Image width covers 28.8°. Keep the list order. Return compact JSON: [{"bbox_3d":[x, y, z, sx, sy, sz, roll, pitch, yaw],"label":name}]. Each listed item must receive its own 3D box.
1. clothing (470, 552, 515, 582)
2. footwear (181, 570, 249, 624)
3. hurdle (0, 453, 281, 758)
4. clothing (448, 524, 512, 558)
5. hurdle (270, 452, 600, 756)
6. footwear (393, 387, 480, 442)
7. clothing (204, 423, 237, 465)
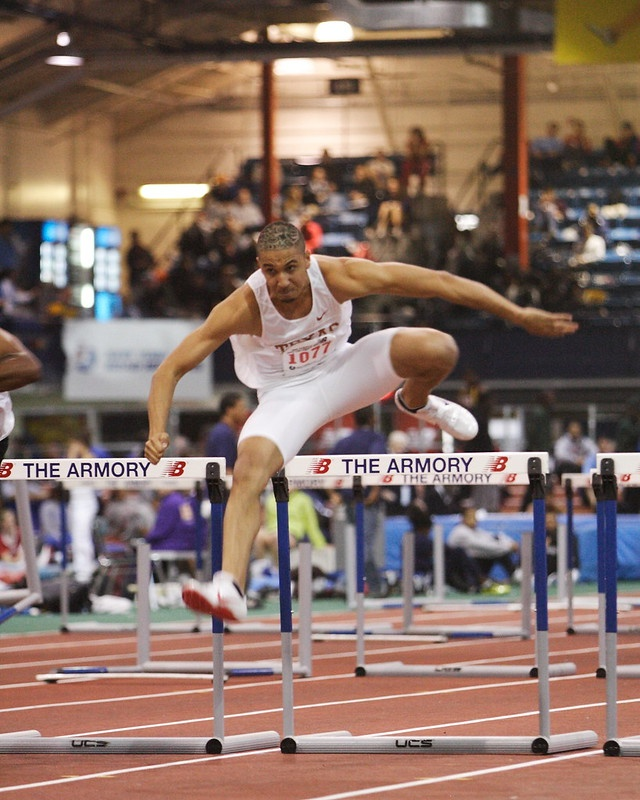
[{"bbox_3d":[1.650,1.541,11.616,0.335,0.261,0.099,-7,19,10],"label":"clothing"},{"bbox_3d":[-0.351,0.640,4.092,0.208,0.146,0.243,3,-14,-6],"label":"footwear"},{"bbox_3d":[-1.017,1.160,7.017,1.721,1.328,1.352,-4,-7,32],"label":"hurdle"},{"bbox_3d":[1.466,1.296,11.511,0.517,0.207,0.338,3,-7,-12],"label":"clothing"},{"bbox_3d":[0.326,0.714,5.032,1.636,1.257,1.214,-2,-2,21],"label":"hurdle"},{"bbox_3d":[0.483,0.043,5.257,0.273,0.086,0.085,-9,-30,9],"label":"footwear"},{"bbox_3d":[-0.717,0.312,9.082,0.229,0.297,0.373,4,-3,5],"label":"clothing"}]
